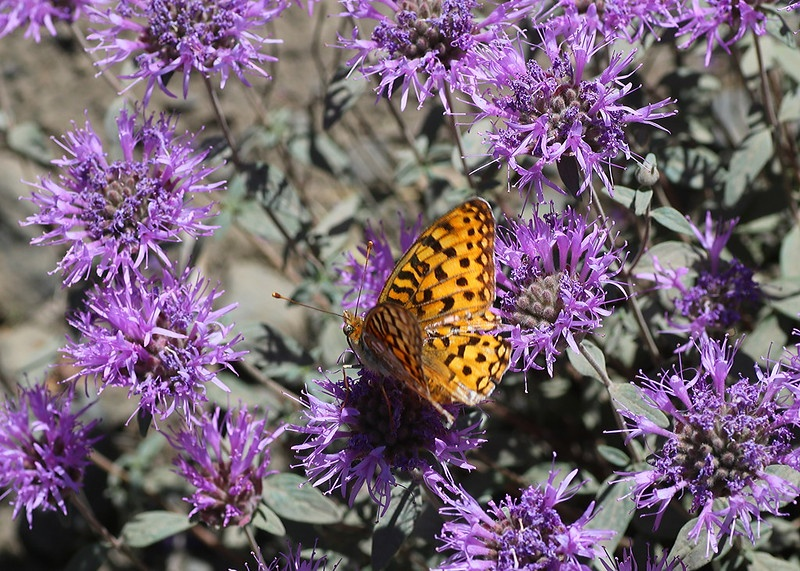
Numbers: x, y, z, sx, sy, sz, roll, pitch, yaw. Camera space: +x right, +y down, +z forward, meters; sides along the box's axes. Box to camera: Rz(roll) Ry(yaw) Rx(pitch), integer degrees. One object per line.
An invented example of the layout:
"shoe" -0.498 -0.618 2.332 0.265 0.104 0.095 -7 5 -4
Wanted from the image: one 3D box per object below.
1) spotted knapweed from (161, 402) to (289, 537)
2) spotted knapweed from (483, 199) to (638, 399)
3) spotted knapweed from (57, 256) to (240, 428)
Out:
"spotted knapweed" -1.042 1.056 5.848 0.604 0.442 0.686 -28 32 -31
"spotted knapweed" 0.880 0.060 5.477 0.816 0.446 0.870 25 71 20
"spotted knapweed" -1.386 0.382 5.677 0.812 0.416 0.877 15 59 4
